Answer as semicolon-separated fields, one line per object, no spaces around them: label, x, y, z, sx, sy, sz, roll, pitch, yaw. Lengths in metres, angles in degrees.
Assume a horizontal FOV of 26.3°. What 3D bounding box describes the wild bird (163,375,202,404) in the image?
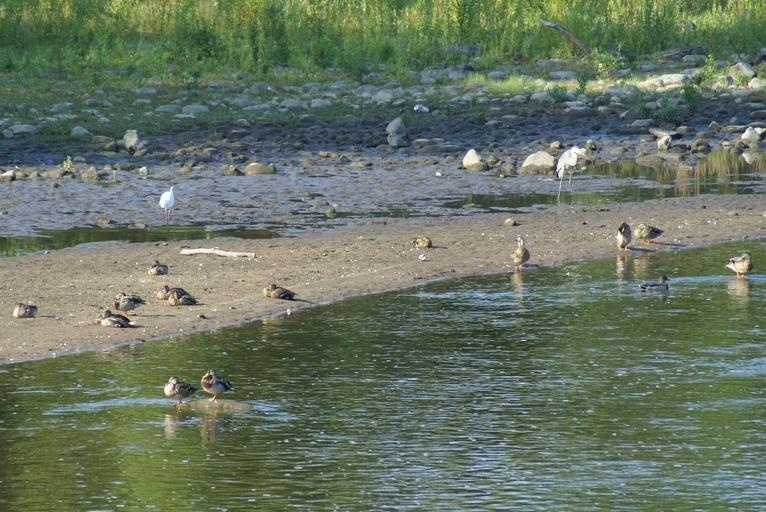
wild bird;-3.769;2.409;29.668;0.405;0.368;0.666;-14;-11;37

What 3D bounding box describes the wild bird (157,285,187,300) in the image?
wild bird;-4.352;0.745;33.303;0.403;0.121;0.393;-2;8;-43

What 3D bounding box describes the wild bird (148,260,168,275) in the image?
wild bird;-4.836;0.245;34.945;0.430;0.261;0.561;-5;10;-6

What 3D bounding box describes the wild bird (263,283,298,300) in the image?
wild bird;-2.134;0.731;33.579;0.580;0.283;0.314;6;7;27

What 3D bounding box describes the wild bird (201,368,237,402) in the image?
wild bird;-3.045;2.319;29.761;0.576;0.611;0.532;-6;12;-6

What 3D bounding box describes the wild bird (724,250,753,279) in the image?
wild bird;7.474;0.155;34.558;0.564;0.539;0.872;-2;11;11

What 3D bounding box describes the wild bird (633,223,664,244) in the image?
wild bird;5.949;-0.510;37.026;0.716;0.378;0.362;-11;1;-17

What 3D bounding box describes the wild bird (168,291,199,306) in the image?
wild bird;-4.071;0.858;33.168;0.480;0.154;0.334;-3;-2;18

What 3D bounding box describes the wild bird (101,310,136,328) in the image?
wild bird;-5.272;1.243;32.121;0.536;0.175;0.362;2;0;30

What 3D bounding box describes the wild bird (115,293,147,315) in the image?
wild bird;-5.114;0.944;32.727;0.674;0.336;0.361;0;10;28

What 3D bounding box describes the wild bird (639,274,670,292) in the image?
wild bird;5.613;0.575;33.851;0.750;0.347;0.294;-3;11;-20
